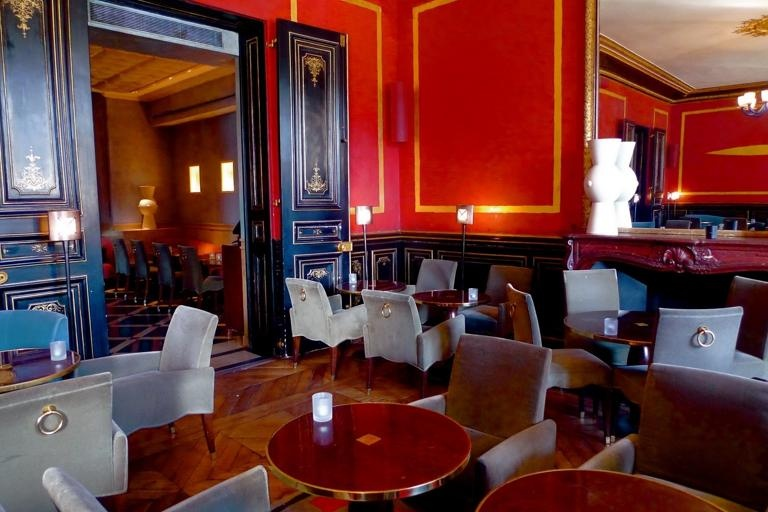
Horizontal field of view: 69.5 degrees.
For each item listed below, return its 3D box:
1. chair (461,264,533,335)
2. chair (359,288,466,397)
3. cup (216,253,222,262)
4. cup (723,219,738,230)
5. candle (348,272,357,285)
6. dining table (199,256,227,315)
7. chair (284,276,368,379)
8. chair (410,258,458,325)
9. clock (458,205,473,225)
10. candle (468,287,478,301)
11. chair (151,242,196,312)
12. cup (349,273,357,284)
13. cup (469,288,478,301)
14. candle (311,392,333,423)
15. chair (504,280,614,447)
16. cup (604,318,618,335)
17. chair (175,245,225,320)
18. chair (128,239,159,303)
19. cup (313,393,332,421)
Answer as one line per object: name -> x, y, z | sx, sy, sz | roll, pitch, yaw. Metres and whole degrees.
chair -> 0.938, 0.440, 4.730 | 0.575, 0.677, 0.643 | 5, 6, 21
chair -> 0.216, 0.618, 4.192 | 0.599, 0.752, 0.711 | 4, 7, 31
cup -> -1.994, 0.029, 6.680 | 0.048, 0.099, 0.103 | -3, -3, 0
cup -> 2.486, -0.222, 3.963 | 0.031, 0.066, 0.063 | 0, -20, -43
candle -> -0.274, 0.219, 5.044 | 0.082, 0.131, 0.087 | -1, 1, 4
dining table -> -2.001, 0.408, 6.418 | 0.425, 0.616, 0.399 | -7, -11, -11
chair -> -0.452, 0.564, 4.706 | 0.550, 0.703, 0.694 | 5, 6, 34
chair -> 0.414, 0.243, 5.361 | 0.506, 0.550, 0.406 | 7, -24, -20
clock -> 0.733, -0.369, 4.982 | 0.171, 0.170, 0.094 | 10, 17, 43
candle -> 0.708, 0.310, 4.383 | 0.083, 0.094, 0.083 | -1, 3, -4
chair -> -2.527, 0.222, 6.785 | 0.482, 0.734, 0.436 | -5, 9, -44
cup -> -0.275, 0.217, 5.058 | 0.078, 0.087, 0.078 | -1, 4, 0
cup -> 0.719, 0.315, 4.386 | 0.087, 0.106, 0.084 | -1, 4, 0
candle -> -0.294, 0.735, 2.724 | 0.128, 0.139, 0.126 | -2, 7, -8
chair -> 1.187, 0.710, 3.775 | 0.724, 0.946, 0.728 | 2, 6, 30
cup -> 1.401, 0.442, 3.426 | 0.095, 0.105, 0.095 | -1, 2, 0
chair -> -2.092, 0.296, 6.448 | 0.547, 0.720, 0.514 | 1, 3, -20
chair -> -2.983, 0.174, 7.153 | 0.546, 0.730, 0.521 | -1, 7, -23
cup -> -0.293, 0.731, 2.711 | 0.121, 0.129, 0.117 | 0, 6, 0
